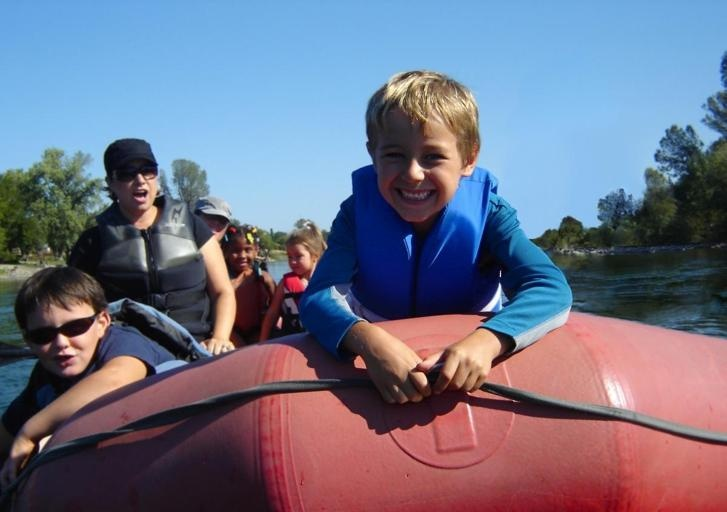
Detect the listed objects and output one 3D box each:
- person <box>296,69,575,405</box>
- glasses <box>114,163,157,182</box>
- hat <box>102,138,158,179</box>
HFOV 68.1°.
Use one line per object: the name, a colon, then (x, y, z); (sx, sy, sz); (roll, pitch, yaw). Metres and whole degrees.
person: (0.235, -0.033, 2.352); (0.918, 1.599, 1.385); (3, 9, -3)
glasses: (-1.472, -0.541, 3.488); (0.257, 0.131, 0.097); (-2, 0, -31)
hat: (-1.522, -0.669, 3.610); (0.282, 0.228, 0.395); (-8, -5, -29)
